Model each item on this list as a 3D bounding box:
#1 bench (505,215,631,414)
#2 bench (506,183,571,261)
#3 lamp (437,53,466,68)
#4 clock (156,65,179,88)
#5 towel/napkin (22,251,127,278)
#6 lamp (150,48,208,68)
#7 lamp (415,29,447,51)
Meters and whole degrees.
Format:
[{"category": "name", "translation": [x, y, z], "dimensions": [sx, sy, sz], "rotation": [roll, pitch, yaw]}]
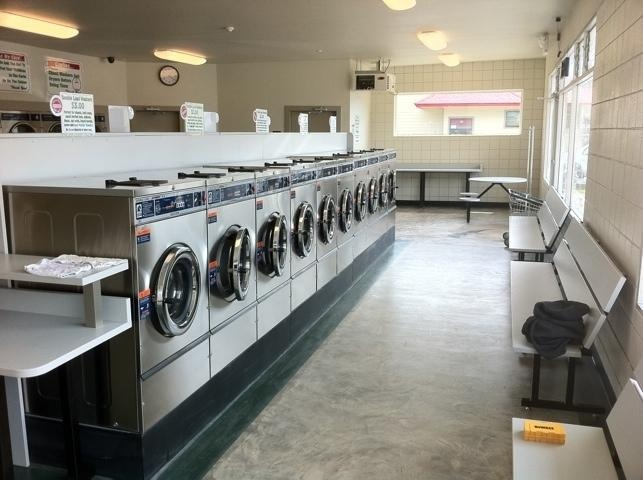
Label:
[{"category": "bench", "translation": [1.924, 0.607, 3.268], "dimensions": [0.368, 0.587, 1.339], "rotation": [0, 17, 14]}, {"category": "bench", "translation": [3.219, -0.271, 6.254], "dimensions": [0.465, 0.629, 1.525], "rotation": [0, 17, 14]}, {"category": "lamp", "translation": [3.134, -4.318, 10.082], "dimensions": [0.605, 0.290, 0.869], "rotation": [4, 13, 10]}, {"category": "clock", "translation": [-3.799, -4.021, 10.292], "dimensions": [0.437, 0.467, 0.073], "rotation": [-22, 10, -37]}, {"category": "towel/napkin", "translation": [-1.225, 0.114, 2.070], "dimensions": [0.433, 0.026, 0.349], "rotation": [5, 14, 22]}, {"category": "lamp", "translation": [-3.117, -4.019, 9.203], "dimensions": [0.464, 0.184, 0.774], "rotation": [9, 6, 35]}, {"category": "lamp", "translation": [2.054, -3.692, 7.822], "dimensions": [0.328, 0.128, 0.507], "rotation": [-4, -1, 20]}]
